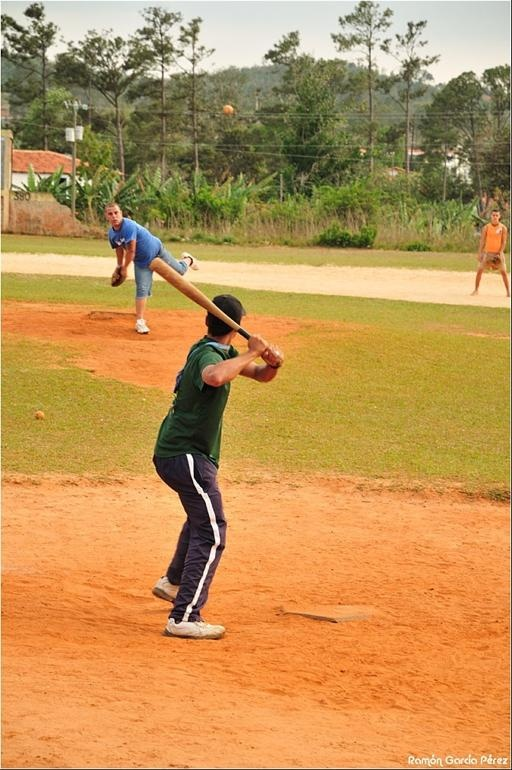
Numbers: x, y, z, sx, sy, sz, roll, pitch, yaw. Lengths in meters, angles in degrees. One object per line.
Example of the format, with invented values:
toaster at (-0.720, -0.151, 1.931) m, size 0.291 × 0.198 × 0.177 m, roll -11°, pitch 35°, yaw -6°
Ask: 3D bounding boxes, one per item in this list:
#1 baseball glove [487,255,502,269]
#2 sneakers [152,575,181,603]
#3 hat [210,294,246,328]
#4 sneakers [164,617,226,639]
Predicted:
baseball glove at (4.491, -2.344, 17.632) m, size 0.160 × 0.250 × 0.252 m, roll -5°, pitch -18°, yaw 5°
sneakers at (-0.521, 1.168, 5.338) m, size 0.088 × 0.117 × 0.261 m, roll 14°, pitch -4°, yaw 36°
hat at (-0.145, -0.399, 4.794) m, size 0.130 × 0.105 × 0.177 m, roll 16°, pitch 37°, yaw 6°
sneakers at (-0.312, 1.225, 4.765) m, size 0.306 × 0.105 × 0.112 m, roll 1°, pitch -1°, yaw -2°
